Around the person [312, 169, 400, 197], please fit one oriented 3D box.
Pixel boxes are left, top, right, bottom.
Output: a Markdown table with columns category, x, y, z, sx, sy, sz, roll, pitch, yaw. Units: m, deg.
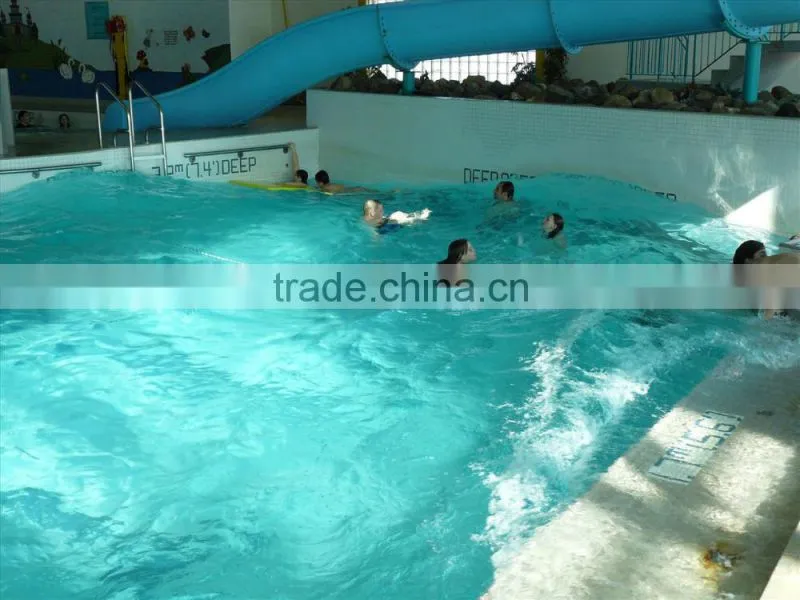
| category | x | y | z | sx | sy | sz | roll | pitch | yaw |
| --- | --- | --- | --- | --- | --- | --- | --- | --- | --- |
| person | -0.697 | -1.665 | 8.256 | 1.084 | 0.222 | 0.519 | 4 | 21 | 6 |
